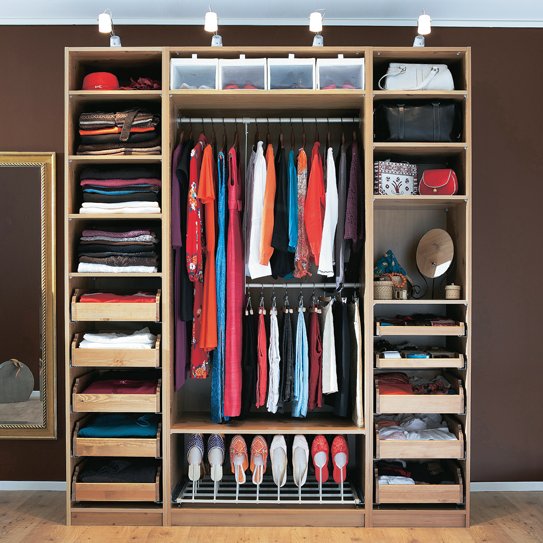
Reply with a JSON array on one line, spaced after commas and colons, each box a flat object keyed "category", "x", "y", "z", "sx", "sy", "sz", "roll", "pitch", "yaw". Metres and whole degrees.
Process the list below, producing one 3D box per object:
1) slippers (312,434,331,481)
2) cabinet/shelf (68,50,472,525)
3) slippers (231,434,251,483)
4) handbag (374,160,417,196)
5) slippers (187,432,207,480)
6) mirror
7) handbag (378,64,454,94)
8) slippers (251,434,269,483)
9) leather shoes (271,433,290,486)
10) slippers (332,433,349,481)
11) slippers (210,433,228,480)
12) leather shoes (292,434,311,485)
[{"category": "slippers", "x": 0.299, "y": 1.090, "z": 4.211, "sx": 0.109, "sy": 0.271, "sz": 0.063, "roll": -3, "pitch": -7, "yaw": 24}, {"category": "cabinet/shelf", "x": -0.029, "y": 0.102, "z": 4.168, "sx": 2.397, "sy": 3.165, "sz": 0.692, "roll": 1, "pitch": 0, "yaw": -2}, {"category": "slippers", "x": -0.175, "y": 1.099, "z": 4.213, "sx": 0.097, "sy": 0.305, "sz": 0.112, "roll": -3, "pitch": -18, "yaw": 1}, {"category": "handbag", "x": 0.728, "y": -0.549, "z": 4.225, "sx": 0.209, "sy": 0.164, "sz": 0.034, "roll": -1, "pitch": 4, "yaw": -19}, {"category": "slippers", "x": -0.439, "y": 1.076, "z": 4.247, "sx": 0.092, "sy": 0.322, "sz": 0.123, "roll": -1, "pitch": -35, "yaw": -4}, {"category": "mirror", "x": -1.530, "y": 0.153, "z": 4.512, "sx": 0.398, "sy": 1.808, "sz": 0.081, "roll": 1, "pitch": 0, "yaw": 3}, {"category": "handbag", "x": 0.857, "y": -1.123, "z": 4.144, "sx": 0.388, "sy": 0.143, "sz": 0.048, "roll": 1, "pitch": 0, "yaw": 4}, {"category": "slippers", "x": -0.064, "y": 1.099, "z": 4.231, "sx": 0.094, "sy": 0.294, "sz": 0.108, "roll": -1, "pitch": -7, "yaw": 9}, {"category": "leather shoes", "x": 0.058, "y": 1.095, "z": 4.182, "sx": 0.089, "sy": 0.308, "sz": 0.105, "roll": -3, "pitch": -7, "yaw": 7}, {"category": "slippers", "x": 0.402, "y": 1.082, "z": 4.180, "sx": 0.096, "sy": 0.277, "sz": 0.067, "roll": 0, "pitch": -3, "yaw": 14}, {"category": "slippers", "x": -0.312, "y": 1.080, "z": 4.179, "sx": 0.084, "sy": 0.287, "sz": 0.104, "roll": -1, "pitch": -18, "yaw": -3}, {"category": "leather shoes", "x": 0.177, "y": 1.109, "z": 4.189, "sx": 0.089, "sy": 0.278, "sz": 0.070, "roll": -4, "pitch": -19, "yaw": 13}]
